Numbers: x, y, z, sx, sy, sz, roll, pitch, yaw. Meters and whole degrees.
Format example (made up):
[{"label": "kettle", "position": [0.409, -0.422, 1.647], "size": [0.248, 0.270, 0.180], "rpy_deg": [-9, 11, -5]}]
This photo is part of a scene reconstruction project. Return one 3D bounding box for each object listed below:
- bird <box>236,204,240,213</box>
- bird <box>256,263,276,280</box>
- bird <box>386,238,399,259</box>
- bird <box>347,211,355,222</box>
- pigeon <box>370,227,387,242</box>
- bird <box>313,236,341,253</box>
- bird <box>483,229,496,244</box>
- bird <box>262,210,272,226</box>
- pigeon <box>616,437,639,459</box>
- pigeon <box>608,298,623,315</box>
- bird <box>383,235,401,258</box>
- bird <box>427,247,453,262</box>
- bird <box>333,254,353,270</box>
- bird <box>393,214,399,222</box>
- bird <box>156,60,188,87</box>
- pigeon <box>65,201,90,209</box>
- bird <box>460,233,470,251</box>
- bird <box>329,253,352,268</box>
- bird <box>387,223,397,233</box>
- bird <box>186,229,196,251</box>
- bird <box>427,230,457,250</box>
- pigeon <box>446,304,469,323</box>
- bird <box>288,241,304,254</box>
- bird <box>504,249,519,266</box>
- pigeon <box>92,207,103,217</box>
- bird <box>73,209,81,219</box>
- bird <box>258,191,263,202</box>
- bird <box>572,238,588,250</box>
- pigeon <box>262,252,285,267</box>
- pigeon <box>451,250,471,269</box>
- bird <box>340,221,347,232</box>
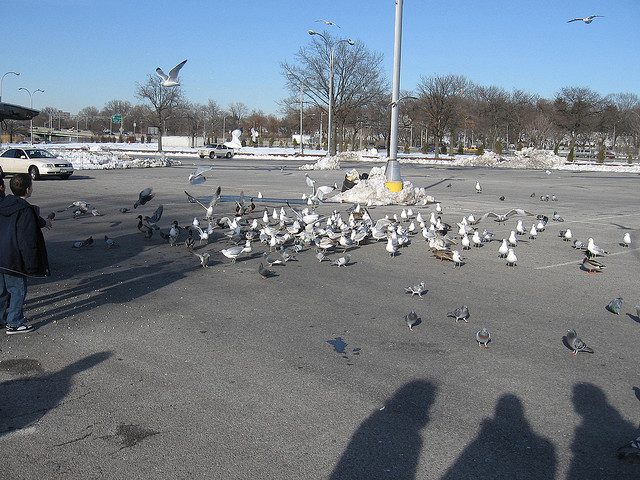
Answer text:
[{"label": "bird", "position": [-2.619, -0.996, 16.335], "size": [0.084, 0.219, 0.150], "rpy_deg": [1, -1, -19]}, {"label": "bird", "position": [-1.104, 0.635, 10.179], "size": [0.237, 0.323, 0.332], "rpy_deg": [0, 3, 41]}, {"label": "bird", "position": [1.632, 0.202, 11.804], "size": [0.247, 0.538, 0.435], "rpy_deg": [3, 7, 35]}, {"label": "bird", "position": [0.939, -0.703, 15.598], "size": [0.213, 0.203, 0.382], "rpy_deg": [-10, -20, 2]}, {"label": "pigeon", "position": [1.478, -0.134, 12.922], "size": [0.395, 0.340, 0.655], "rpy_deg": [2, 15, 6]}, {"label": "bird", "position": [0.182, 0.095, 11.704], "size": [0.247, 0.384, 0.619], "rpy_deg": [-1, 15, 36]}, {"label": "bird", "position": [4.408, -0.110, 13.496], "size": [0.177, 0.400, 0.569], "rpy_deg": [0, 2, 26]}, {"label": "bird", "position": [-1.560, -0.618, 14.897], "size": [0.227, 0.419, 0.405], "rpy_deg": [-2, 15, 0]}, {"label": "pigeon", "position": [3.137, 2.124, 5.207], "size": [0.200, 0.211, 0.144], "rpy_deg": [7, 15, 24]}, {"label": "pigeon", "position": [4.894, 1.101, 8.516], "size": [0.152, 0.221, 0.317], "rpy_deg": [2, 18, 30]}, {"label": "bird", "position": [1.575, 0.188, 11.934], "size": [0.298, 0.601, 0.520], "rpy_deg": [4, 1, 37]}, {"label": "bird", "position": [2.723, 0.374, 11.460], "size": [0.388, 0.356, 0.794], "rpy_deg": [3, 15, 8]}, {"label": "bird", "position": [0.487, 0.461, 11.129], "size": [0.304, 0.264, 0.397], "rpy_deg": [-1, 15, -8]}, {"label": "bird", "position": [2.413, -0.686, 16.385], "size": [0.119, 0.267, 0.321], "rpy_deg": [13, 5, 21]}, {"label": "bird", "position": [-4.645, -5.098, 15.866], "size": [0.684, 0.606, 2.655], "rpy_deg": [-4, 16, -16]}, {"label": "pigeon", "position": [-8.133, -1.207, 17.387], "size": [0.521, 0.192, 0.558], "rpy_deg": [0, 5, 13]}, {"label": "bird", "position": [3.583, 0.078, 12.697], "size": [0.163, 0.386, 0.731], "rpy_deg": [4, 15, 15]}, {"label": "bird", "position": [0.458, 0.434, 11.146], "size": [0.545, 0.379, 0.173], "rpy_deg": [-1, -6, 14]}, {"label": "bird", "position": [1.833, -0.307, 13.107], "size": [0.207, 0.231, 0.147], "rpy_deg": [-9, 3, 33]}, {"label": "bird", "position": [-3.276, 0.023, 12.979], "size": [0.150, 0.506, 0.328], "rpy_deg": [1, -31, -4]}, {"label": "bird", "position": [2.853, 0.015, 12.009], "size": [0.535, 0.307, 0.596], "rpy_deg": [-7, -4, -1]}, {"label": "pigeon", "position": [2.203, 1.175, 8.165], "size": [0.181, 0.261, 0.347], "rpy_deg": [-4, 7, -31]}, {"label": "bird", "position": [-0.553, 0.173, 11.894], "size": [0.168, 0.317, 0.454], "rpy_deg": [-8, 8, 16]}, {"label": "bird", "position": [4.230, 0.393, 11.231], "size": [0.261, 0.417, 0.410], "rpy_deg": [-3, 6, 17]}, {"label": "pigeon", "position": [-7.275, -0.870, 16.750], "size": [0.165, 0.326, 0.499], "rpy_deg": [5, 4, 15]}, {"label": "bird", "position": [-7.886, -0.851, 16.658], "size": [0.187, 0.194, 0.403], "rpy_deg": [0, 15, -4]}, {"label": "bird", "position": [-2.371, -1.696, 20.131], "size": [0.166, 0.402, 0.218], "rpy_deg": [-5, -6, 21]}, {"label": "bird", "position": [6.552, 0.107, 12.927], "size": [0.288, 0.242, 0.710], "rpy_deg": [8, 16, 27]}, {"label": "pigeon", "position": [-0.997, 0.418, 10.963], "size": [0.499, 0.341, 0.166], "rpy_deg": [-2, -4, -35]}, {"label": "pigeon", "position": [3.002, 0.386, 11.102], "size": [0.194, 0.373, 0.514], "rpy_deg": [3, 2, 34]}, {"label": "bird", "position": [0.575, -0.338, 12.737], "size": [0.070, 0.213, 0.143], "rpy_deg": [0, 12, -39]}]
